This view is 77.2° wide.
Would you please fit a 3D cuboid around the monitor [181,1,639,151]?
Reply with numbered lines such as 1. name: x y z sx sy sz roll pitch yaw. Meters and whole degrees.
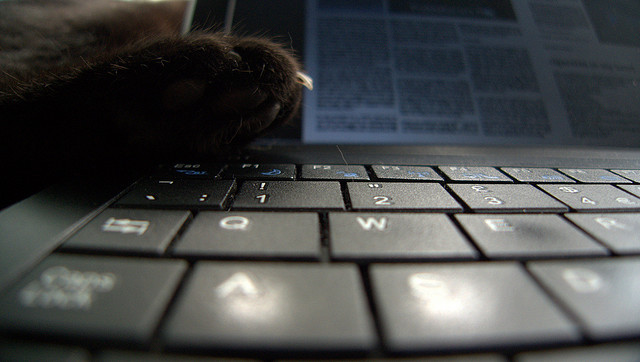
1. monitor: 0.332 -0.265 0.974 0.866 0.455 0.185 3 -17 2

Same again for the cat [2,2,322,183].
1. cat: -0.243 -0.177 0.901 0.727 0.339 0.230 -10 -37 -16
